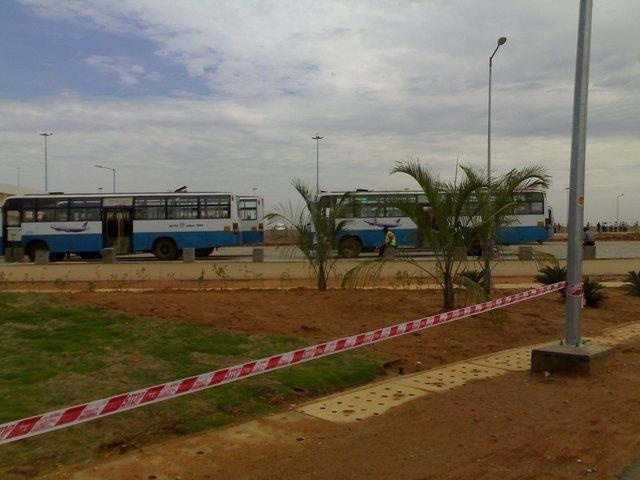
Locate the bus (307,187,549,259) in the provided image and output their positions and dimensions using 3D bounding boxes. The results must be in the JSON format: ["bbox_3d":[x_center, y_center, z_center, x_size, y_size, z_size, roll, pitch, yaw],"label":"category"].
[{"bbox_3d":[5.500,-1.498,31.343,13.447,3.746,3.643,-2,23,-12],"label":"bus"}]

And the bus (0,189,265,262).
[{"bbox_3d":[-9.508,-0.580,28.510,11.968,3.462,3.804,1,1,-1],"label":"bus"}]
